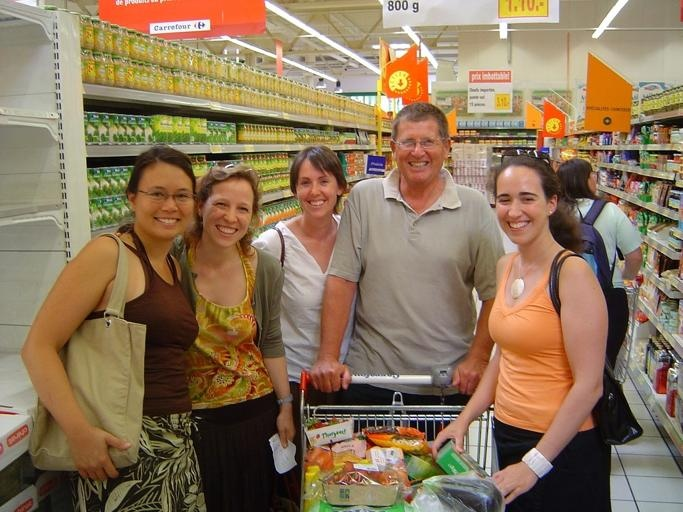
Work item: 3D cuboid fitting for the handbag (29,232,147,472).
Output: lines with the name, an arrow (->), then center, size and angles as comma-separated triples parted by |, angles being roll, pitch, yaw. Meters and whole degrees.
handbag -> -0.863, 0.341, 1.634 | 0.406, 0.776, 0.229 | -6, 10, -24

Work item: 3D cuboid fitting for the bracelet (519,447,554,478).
bracelet -> 0.681, 0.722, 1.701 | 0.059, 0.097, 0.097 | -41, -16, 1

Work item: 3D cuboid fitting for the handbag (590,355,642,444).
handbag -> 1.078, 0.601, 1.902 | 0.157, 0.386, 0.259 | 4, 11, 33
